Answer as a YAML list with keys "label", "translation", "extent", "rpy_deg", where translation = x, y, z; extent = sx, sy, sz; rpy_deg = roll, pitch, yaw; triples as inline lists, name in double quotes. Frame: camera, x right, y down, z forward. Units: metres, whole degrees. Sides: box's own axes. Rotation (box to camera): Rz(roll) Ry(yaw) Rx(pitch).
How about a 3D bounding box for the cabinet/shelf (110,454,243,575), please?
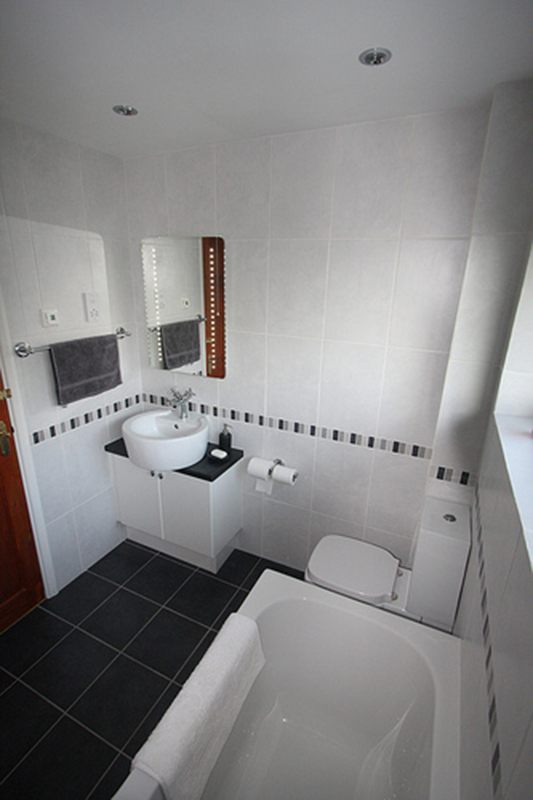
- label: "cabinet/shelf"
  translation: [-0.451, 0.586, 2.640]
  extent: [0.463, 0.492, 0.267]
  rpy_deg: [9, 21, 22]

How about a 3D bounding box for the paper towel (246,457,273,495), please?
- label: "paper towel"
  translation: [-0.029, 0.376, 2.536]
  extent: [0.116, 0.248, 0.123]
  rpy_deg: [9, 25, 20]

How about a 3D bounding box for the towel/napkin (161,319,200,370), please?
- label: "towel/napkin"
  translation: [-0.439, -0.297, 2.663]
  extent: [0.221, 0.283, 0.030]
  rpy_deg: [3, 14, 25]

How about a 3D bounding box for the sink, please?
- label: "sink"
  translation: [-0.509, 0.214, 2.550]
  extent: [0.415, 0.206, 0.385]
  rpy_deg: [8, 18, 19]

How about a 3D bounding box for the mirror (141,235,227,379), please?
- label: "mirror"
  translation: [-0.404, -0.456, 2.568]
  extent: [0.540, 0.679, 0.081]
  rpy_deg: [8, 15, 32]

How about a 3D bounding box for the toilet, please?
- label: "toilet"
  translation: [0.464, 0.664, 2.098]
  extent: [0.612, 0.585, 0.340]
  rpy_deg: [12, 22, 24]

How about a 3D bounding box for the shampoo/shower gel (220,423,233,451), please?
- label: "shampoo/shower gel"
  translation: [-0.210, 0.204, 2.631]
  extent: [0.064, 0.128, 0.108]
  rpy_deg: [-1, 13, -2]

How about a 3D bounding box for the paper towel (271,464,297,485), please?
- label: "paper towel"
  translation: [0.085, 0.379, 2.481]
  extent: [0.120, 0.115, 0.123]
  rpy_deg: [4, 14, 18]

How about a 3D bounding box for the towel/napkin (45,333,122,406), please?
- label: "towel/napkin"
  translation: [-0.873, -0.148, 2.409]
  extent: [0.038, 0.216, 0.295]
  rpy_deg: [9, 19, 19]
